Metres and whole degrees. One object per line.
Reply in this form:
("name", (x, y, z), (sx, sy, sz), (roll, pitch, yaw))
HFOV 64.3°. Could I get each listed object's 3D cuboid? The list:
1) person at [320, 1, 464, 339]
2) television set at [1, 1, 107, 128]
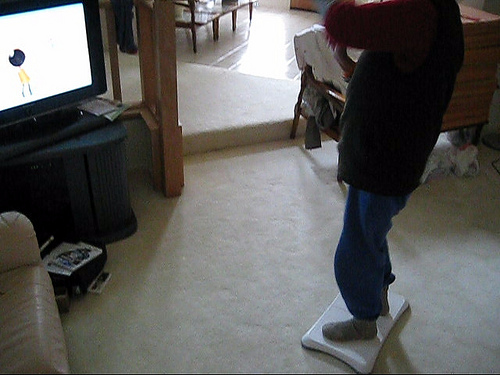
("person", (0.602, 0.018, 1.932), (0.610, 1.704, 0.343), (3, 30, 6))
("television set", (-1.189, -0.731, 2.356), (0.574, 0.497, 0.304), (-32, 55, -24))
